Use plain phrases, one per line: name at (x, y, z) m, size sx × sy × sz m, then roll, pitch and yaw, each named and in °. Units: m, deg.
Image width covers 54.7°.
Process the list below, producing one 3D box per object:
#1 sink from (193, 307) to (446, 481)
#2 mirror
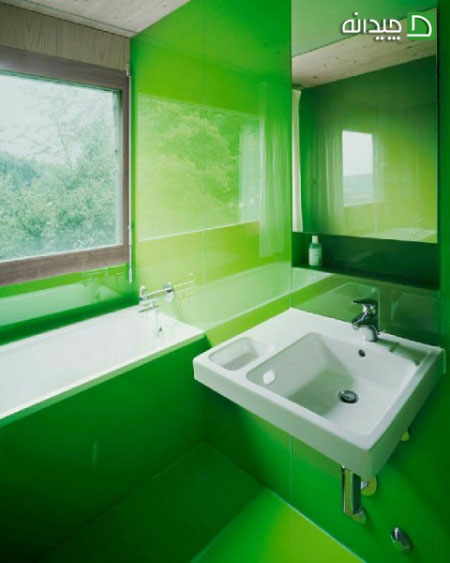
sink at (0.334, 0.479, 1.579) m, size 0.620 × 0.539 × 0.759 m, roll -13°, pitch 15°, yaw -39°
mirror at (0.606, -0.485, 1.760) m, size 0.589 × 0.688 × 0.004 m, roll 1°, pitch -10°, yaw 5°
